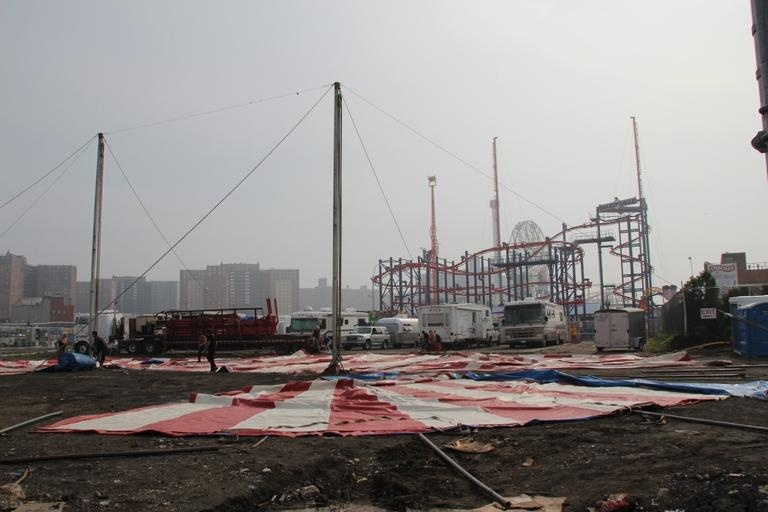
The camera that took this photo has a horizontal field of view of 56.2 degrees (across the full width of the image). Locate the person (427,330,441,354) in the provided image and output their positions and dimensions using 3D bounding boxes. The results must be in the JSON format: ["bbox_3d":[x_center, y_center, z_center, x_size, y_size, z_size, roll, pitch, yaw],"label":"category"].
[{"bbox_3d":[2.511,4.146,35.624,0.593,0.904,1.197,1,-1,14],"label":"person"}]

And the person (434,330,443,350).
[{"bbox_3d":[2.761,4.192,36.740,0.394,0.335,1.158,-11,12,4],"label":"person"}]

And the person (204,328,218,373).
[{"bbox_3d":[-6.161,3.296,25.719,0.407,0.999,1.812,1,-1,-14],"label":"person"}]
